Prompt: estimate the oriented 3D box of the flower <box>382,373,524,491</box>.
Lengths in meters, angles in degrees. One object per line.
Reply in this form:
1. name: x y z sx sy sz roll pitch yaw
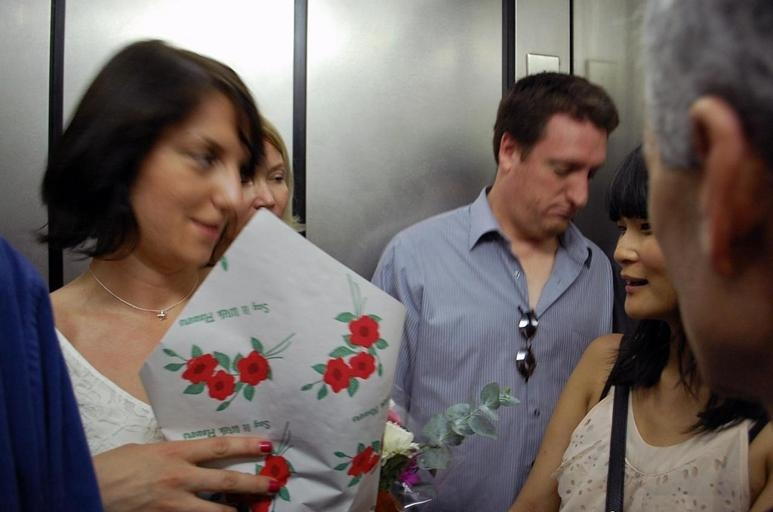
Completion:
1. flower: 0.140 0.371 1.322 0.291 0.157 0.135 -33 8 0
